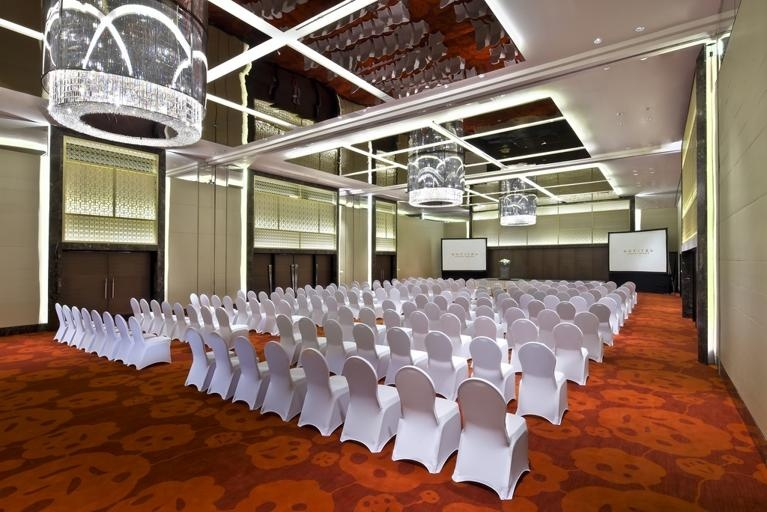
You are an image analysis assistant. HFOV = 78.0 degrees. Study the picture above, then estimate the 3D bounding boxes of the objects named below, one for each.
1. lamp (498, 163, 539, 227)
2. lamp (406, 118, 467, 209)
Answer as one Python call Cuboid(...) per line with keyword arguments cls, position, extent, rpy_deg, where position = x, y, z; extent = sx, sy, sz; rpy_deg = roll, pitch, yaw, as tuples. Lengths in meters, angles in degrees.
Cuboid(cls="lamp", position=(5.009, -2.067, 17.596), extent=(1.890, 1.721, 2.008), rpy_deg=(0, -1, 26))
Cuboid(cls="lamp", position=(1.384, -2.260, 12.869), extent=(1.397, 2.314, 1.455), rpy_deg=(0, -23, 1))
